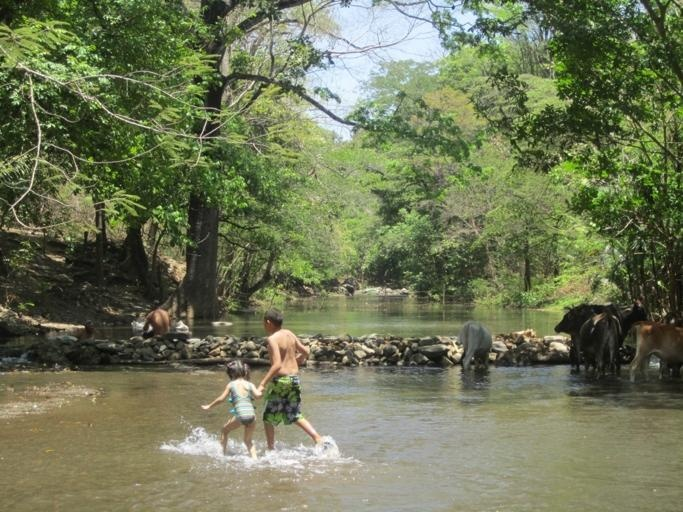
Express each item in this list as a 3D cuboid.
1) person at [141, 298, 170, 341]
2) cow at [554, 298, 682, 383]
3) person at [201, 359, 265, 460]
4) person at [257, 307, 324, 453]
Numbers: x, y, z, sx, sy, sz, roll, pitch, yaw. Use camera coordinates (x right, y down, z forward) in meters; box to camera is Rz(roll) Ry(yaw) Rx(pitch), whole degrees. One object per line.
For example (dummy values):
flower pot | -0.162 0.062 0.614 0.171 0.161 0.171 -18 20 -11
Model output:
person | -5.880 2.014 24.103 0.850 1.232 0.885 -1 1 37
cow | 7.950 2.252 21.979 3.550 1.890 2.092 4 5 39
person | -1.905 2.726 13.503 0.874 1.654 1.016 -2 5 -28
person | -0.983 2.227 13.820 1.017 2.592 1.271 0 4 -5
